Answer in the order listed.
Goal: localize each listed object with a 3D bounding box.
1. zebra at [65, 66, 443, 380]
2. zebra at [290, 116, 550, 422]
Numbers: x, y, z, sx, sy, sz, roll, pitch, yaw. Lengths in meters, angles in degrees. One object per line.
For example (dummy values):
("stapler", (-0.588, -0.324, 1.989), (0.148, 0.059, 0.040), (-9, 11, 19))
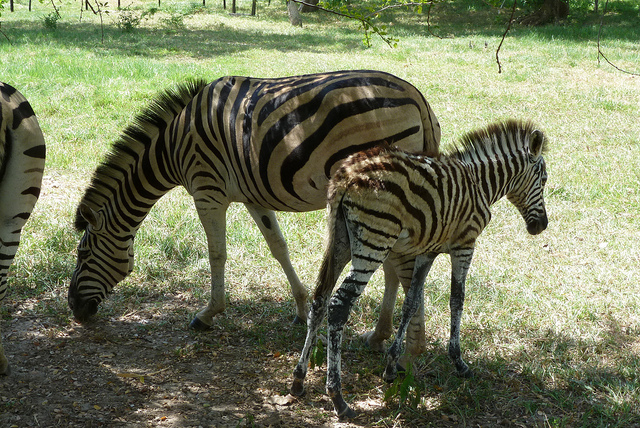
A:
("zebra", (-1.072, 0.065, 9.780), (5.221, 3.680, 1.471), (3, 17, 11))
("zebra", (1.194, 0.597, 8.905), (3.000, 3.546, 1.131), (-5, 20, -30))
